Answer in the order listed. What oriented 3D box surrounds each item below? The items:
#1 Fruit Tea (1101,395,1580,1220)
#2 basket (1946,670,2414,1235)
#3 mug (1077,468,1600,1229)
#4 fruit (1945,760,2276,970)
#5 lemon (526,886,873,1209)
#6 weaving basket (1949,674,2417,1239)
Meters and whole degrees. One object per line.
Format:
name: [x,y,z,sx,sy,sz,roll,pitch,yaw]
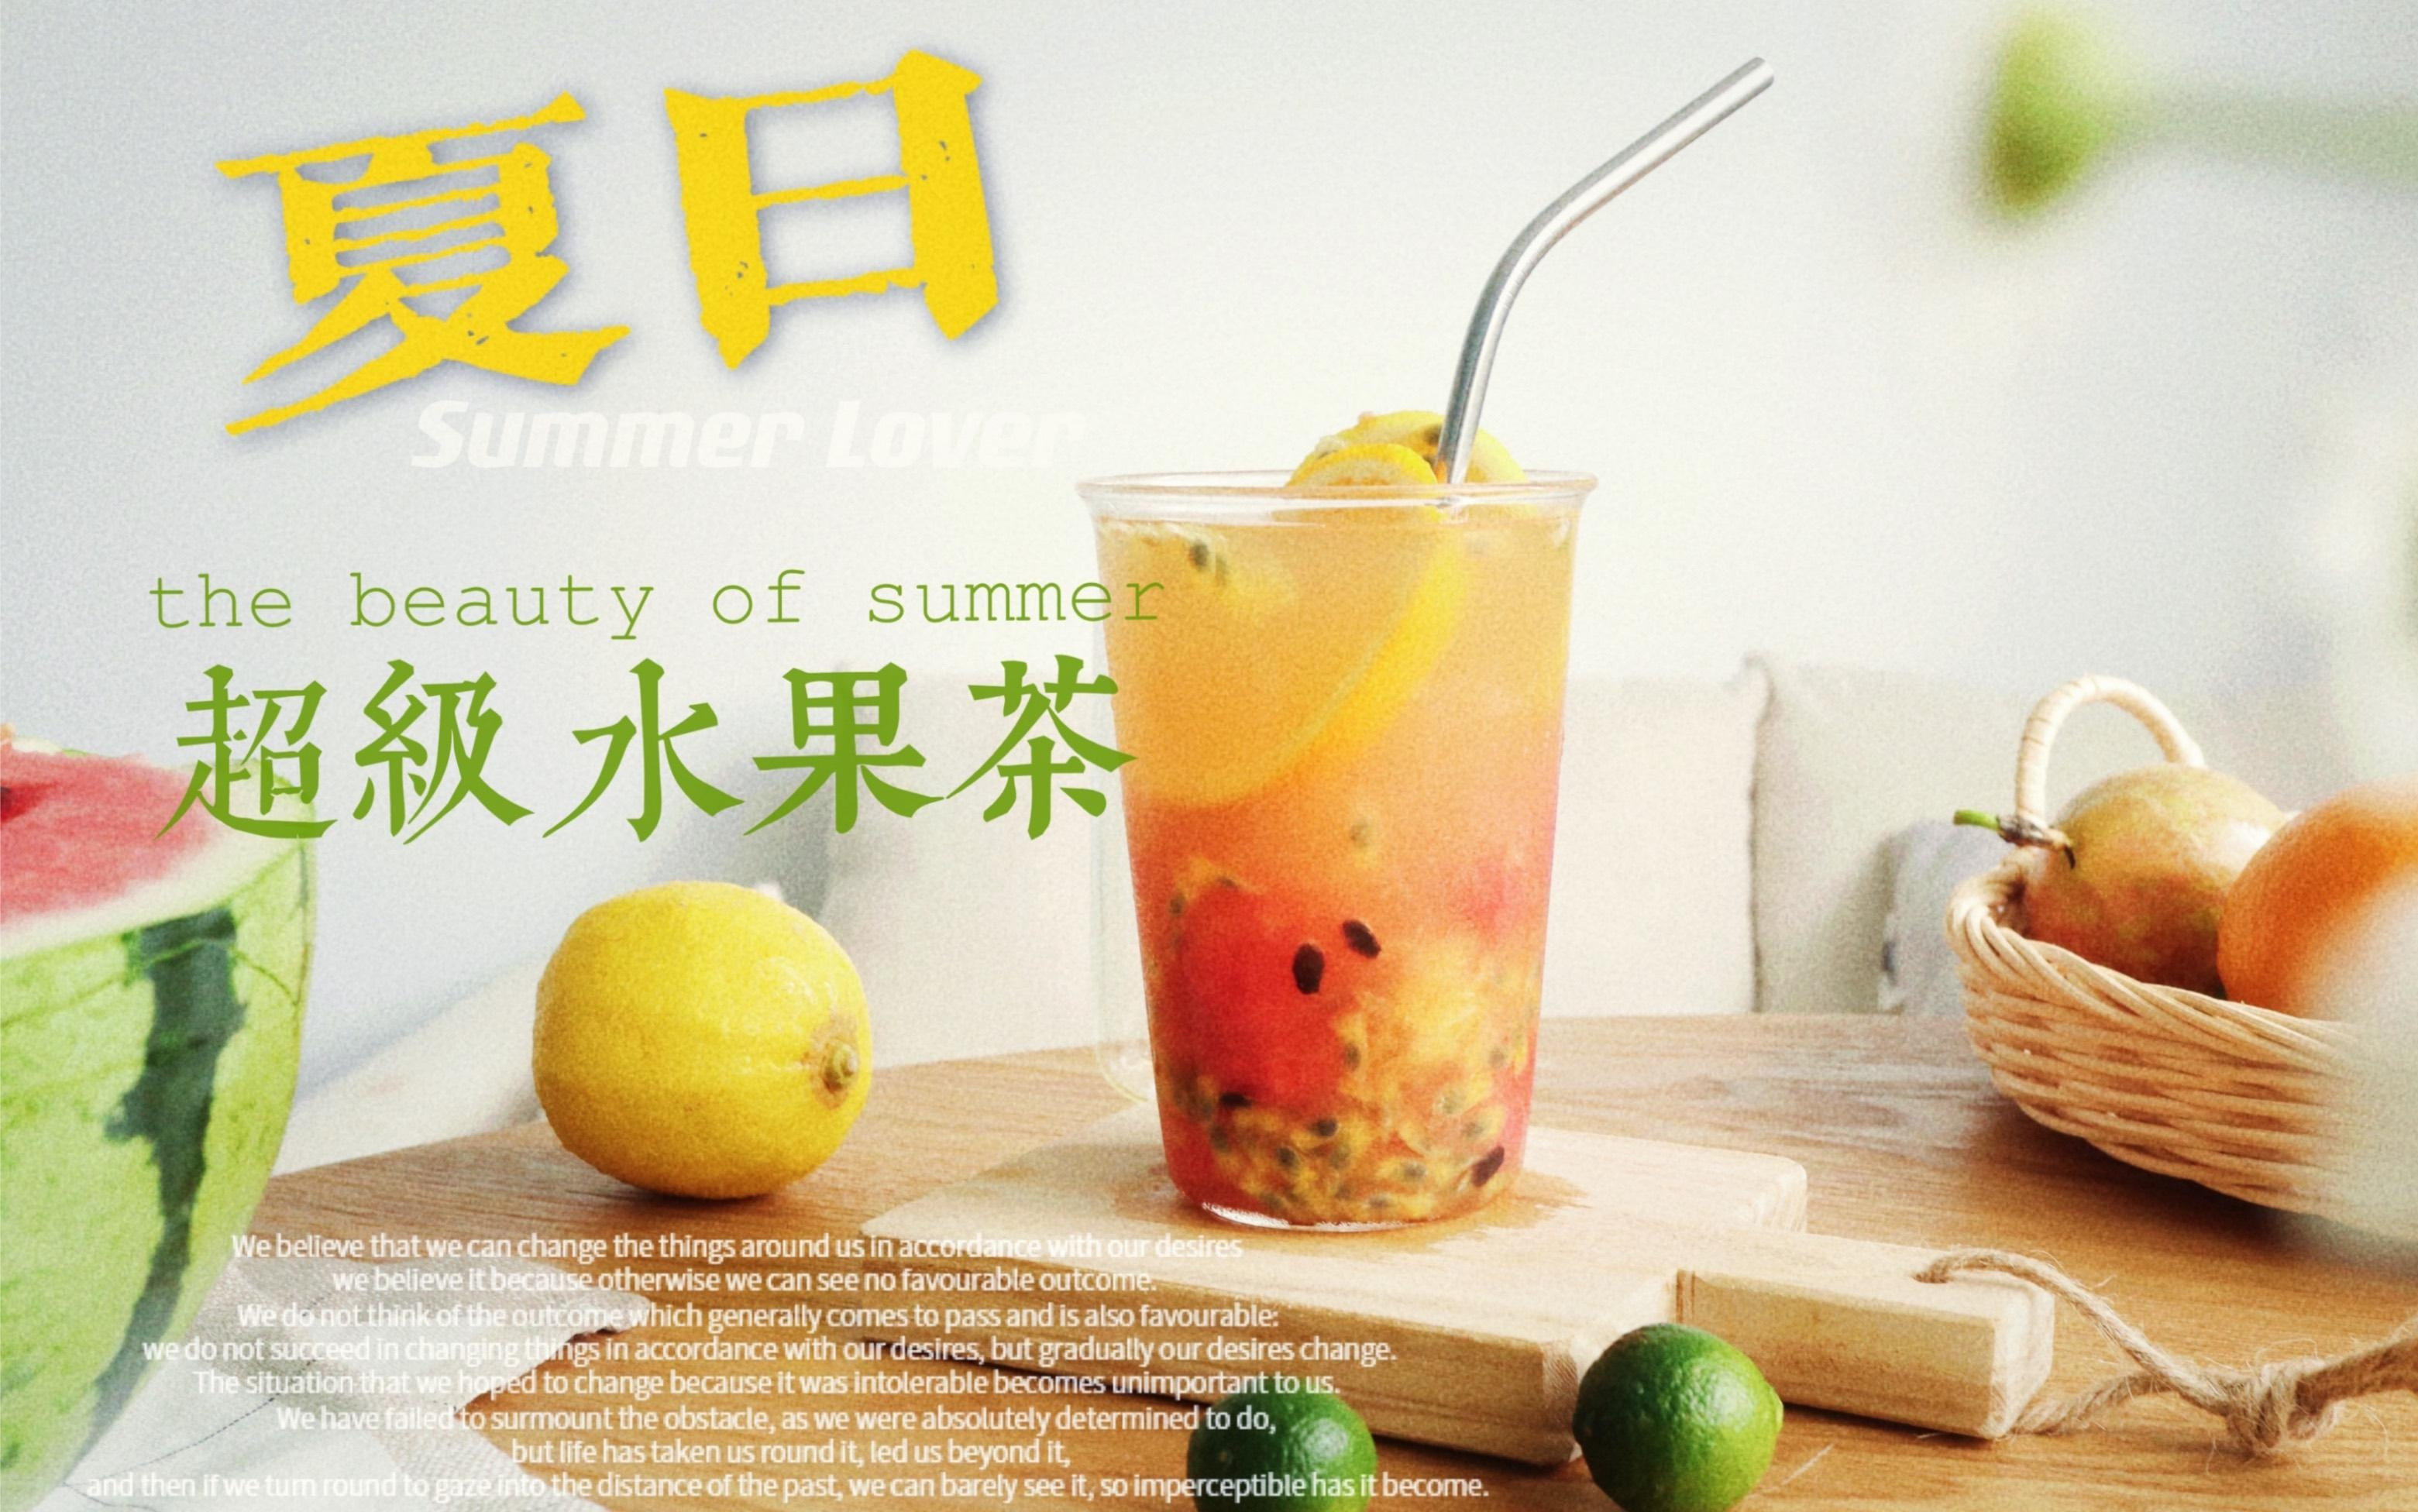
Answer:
Fruit Tea: [0.085,-0.003,1.157,0.348,0.463,0.361,-1,8,12]
basket: [0.510,0.096,1.178,0.223,0.116,0.281,-6,20,-17]
mug: [0.059,0.044,1.095,0.268,0.365,0.261,-2,2,-36]
fruit: [0.549,0.082,1.265,0.150,0.124,0.122,14,-30,4]
lemon: [-0.281,0.166,1.155,0.173,0.162,0.205,8,-15,-43]
weaving basket: [0.580,0.123,1.166,0.295,0.152,0.216,14,2,-24]
